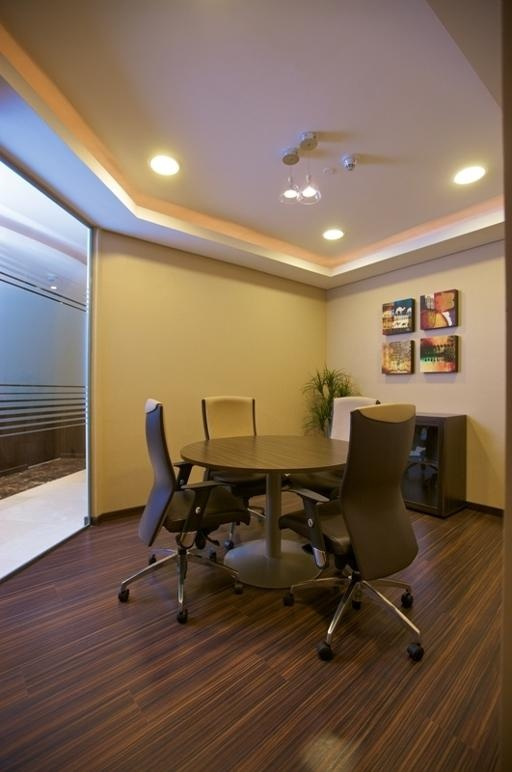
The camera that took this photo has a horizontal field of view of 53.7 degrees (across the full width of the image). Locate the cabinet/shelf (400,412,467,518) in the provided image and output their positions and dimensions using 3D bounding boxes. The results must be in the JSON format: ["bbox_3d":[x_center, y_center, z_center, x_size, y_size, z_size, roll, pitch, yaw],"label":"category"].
[{"bbox_3d":[1.412,0.632,4.170,0.406,0.774,0.520,2,-2,-43],"label":"cabinet/shelf"}]

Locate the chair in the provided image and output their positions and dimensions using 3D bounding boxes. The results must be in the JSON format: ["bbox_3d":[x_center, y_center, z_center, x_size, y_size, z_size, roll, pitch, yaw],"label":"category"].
[{"bbox_3d":[-0.100,0.597,2.711,1.151,1.095,0.989,0,2,-11],"label":"chair"}]
